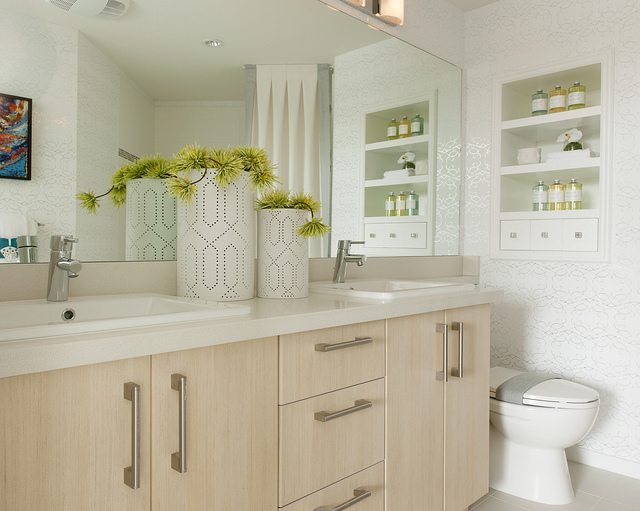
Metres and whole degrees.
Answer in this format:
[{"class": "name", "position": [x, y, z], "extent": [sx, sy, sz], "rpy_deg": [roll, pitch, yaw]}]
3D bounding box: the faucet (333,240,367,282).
[{"class": "faucet", "position": [0.128, 0.029, 2.186], "extent": [0.138, 0.187, 0.057], "rpy_deg": [2, -12, 36]}]

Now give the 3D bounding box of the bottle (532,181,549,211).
[{"class": "bottle", "position": [1.250, -0.332, 2.917], "extent": [0.083, 0.164, 0.233], "rpy_deg": [1, 3, 22]}]

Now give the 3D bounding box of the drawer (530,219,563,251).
[{"class": "drawer", "position": [1.257, -0.118, 2.834], "extent": [0.105, 0.173, 0.184], "rpy_deg": [-5, 5, -43]}]

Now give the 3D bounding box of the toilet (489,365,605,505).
[{"class": "toilet", "position": [1.028, 0.838, 2.549], "extent": [0.644, 0.569, 0.400], "rpy_deg": [-1, -1, 45]}]

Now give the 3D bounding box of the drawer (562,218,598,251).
[{"class": "drawer", "position": [1.372, -0.096, 2.728], "extent": [0.215, 0.210, 0.116], "rpy_deg": [2, -12, 20]}]

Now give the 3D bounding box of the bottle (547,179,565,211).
[{"class": "bottle", "position": [1.308, -0.333, 2.829], "extent": [0.128, 0.168, 0.127], "rpy_deg": [-1, 4, 0]}]

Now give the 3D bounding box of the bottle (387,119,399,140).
[{"class": "bottle", "position": [0.380, -0.652, 2.663], "extent": [0.013, 0.109, 0.096], "rpy_deg": [2, 3, 41]}]

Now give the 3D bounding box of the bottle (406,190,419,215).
[{"class": "bottle", "position": [0.500, -0.288, 2.777], "extent": [0.019, 0.129, 0.104], "rpy_deg": [2, 4, 44]}]

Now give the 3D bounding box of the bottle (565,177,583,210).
[{"class": "bottle", "position": [1.360, -0.328, 2.753], "extent": [0.084, 0.161, 0.088], "rpy_deg": [0, 3, 0]}]

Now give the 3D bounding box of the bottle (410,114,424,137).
[{"class": "bottle", "position": [0.526, -0.704, 2.776], "extent": [0.104, 0.121, 0.015], "rpy_deg": [-3, 3, -42]}]

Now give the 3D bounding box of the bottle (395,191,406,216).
[{"class": "bottle", "position": [0.428, -0.278, 2.717], "extent": [0.023, 0.132, 0.095], "rpy_deg": [1, 3, 35]}]

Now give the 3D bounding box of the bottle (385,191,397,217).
[{"class": "bottle", "position": [0.367, -0.268, 2.653], "extent": [0.022, 0.129, 0.114], "rpy_deg": [1, 3, 32]}]

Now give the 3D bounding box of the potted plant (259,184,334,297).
[{"class": "potted plant", "position": [-0.104, -0.045, 1.933], "extent": [0.314, 0.374, 0.242], "rpy_deg": [2, 0, 19]}]

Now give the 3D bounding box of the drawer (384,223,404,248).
[{"class": "drawer", "position": [0.382, -0.106, 2.651], "extent": [0.037, 0.120, 0.176], "rpy_deg": [1, 3, 35]}]

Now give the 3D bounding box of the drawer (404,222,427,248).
[{"class": "drawer", "position": [0.507, -0.111, 2.774], "extent": [0.141, 0.128, 0.071], "rpy_deg": [3, -6, -41]}]

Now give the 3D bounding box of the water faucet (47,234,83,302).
[{"class": "water faucet", "position": [-0.738, 0.039, 1.491], "extent": [0.140, 0.193, 0.065], "rpy_deg": [10, 6, 41]}]

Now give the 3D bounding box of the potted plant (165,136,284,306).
[{"class": "potted plant", "position": [-0.306, -0.106, 1.817], "extent": [0.519, 0.617, 0.487], "rpy_deg": [0, 1, 7]}]

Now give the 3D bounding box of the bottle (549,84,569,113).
[{"class": "bottle", "position": [1.299, -0.852, 2.805], "extent": [0.079, 0.143, 0.054], "rpy_deg": [0, 3, 17]}]

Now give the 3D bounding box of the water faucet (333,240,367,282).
[{"class": "water faucet", "position": [0.129, 0.029, 2.190], "extent": [0.133, 0.185, 0.059], "rpy_deg": [3, -9, 30]}]

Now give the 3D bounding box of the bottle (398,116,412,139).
[{"class": "bottle", "position": [0.451, -0.681, 2.723], "extent": [0.091, 0.117, 0.012], "rpy_deg": [-3, 3, -43]}]

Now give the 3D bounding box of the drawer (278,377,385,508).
[{"class": "drawer", "position": [0.050, 0.562, 1.600], "extent": [0.439, 0.292, 0.062], "rpy_deg": [-3, 3, -44]}]
